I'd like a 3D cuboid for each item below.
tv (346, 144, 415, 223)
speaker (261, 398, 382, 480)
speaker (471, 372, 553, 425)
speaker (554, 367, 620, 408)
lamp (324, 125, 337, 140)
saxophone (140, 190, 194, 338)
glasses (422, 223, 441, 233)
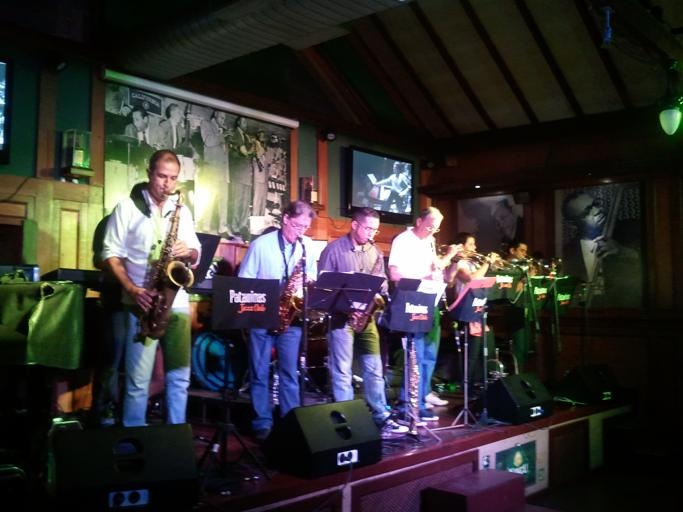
[{"bbox_3d":[0.561,-1.102,9.201,1.473,1.003,0.189,7,-12,-41],"label":"tv"},{"bbox_3d":[-0.109,1.350,4.576,0.724,0.421,0.552,7,-2,-43],"label":"speaker"},{"bbox_3d":[1.777,1.412,6.064,0.712,0.376,0.551,4,1,-31],"label":"speaker"},{"bbox_3d":[2.902,1.507,7.145,0.659,0.413,0.643,-1,-4,-41],"label":"speaker"},{"bbox_3d":[-0.159,-1.813,9.004,0.152,0.183,0.335,1,-1,7],"label":"lamp"},{"bbox_3d":[-1.253,0.092,4.301,0.342,0.728,0.295,2,-1,-22],"label":"saxophone"},{"bbox_3d":[0.883,-0.273,5.932,0.154,0.046,0.156,3,38,-45],"label":"glasses"}]
